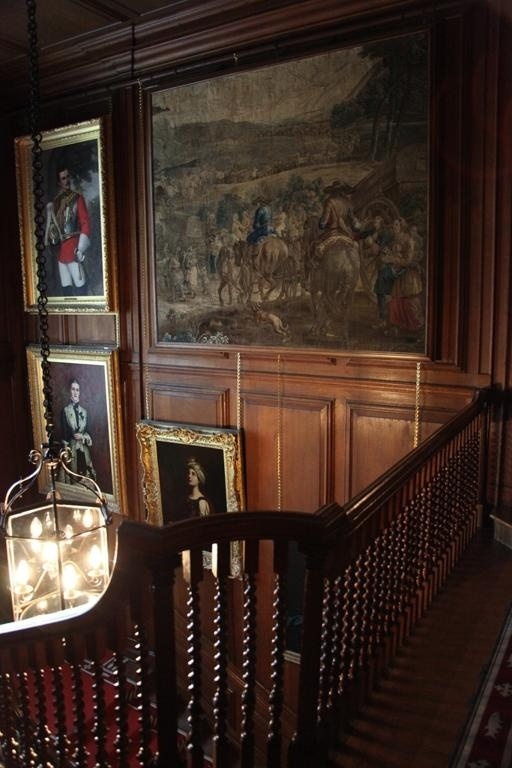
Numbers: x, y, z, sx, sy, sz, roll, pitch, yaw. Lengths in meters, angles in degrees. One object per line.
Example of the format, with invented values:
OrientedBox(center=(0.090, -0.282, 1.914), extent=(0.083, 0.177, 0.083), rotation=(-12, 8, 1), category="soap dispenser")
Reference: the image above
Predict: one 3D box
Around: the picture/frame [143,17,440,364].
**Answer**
OrientedBox(center=(0.385, -1.783, 5.501), extent=(2.872, 2.672, 0.135), rotation=(8, 15, 36), category="picture/frame")
